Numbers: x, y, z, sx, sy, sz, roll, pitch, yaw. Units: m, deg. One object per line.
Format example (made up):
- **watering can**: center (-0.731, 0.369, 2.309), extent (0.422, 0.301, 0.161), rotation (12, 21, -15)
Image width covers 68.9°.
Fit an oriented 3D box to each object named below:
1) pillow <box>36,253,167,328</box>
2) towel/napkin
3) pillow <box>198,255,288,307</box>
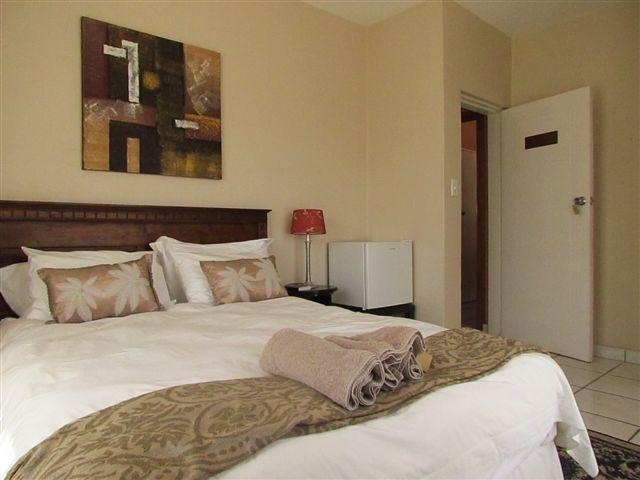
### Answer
- **pillow**: center (-1.272, 0.263, 2.746), extent (0.745, 0.347, 0.376), rotation (-5, 12, -29)
- **towel/napkin**: center (0.108, 0.458, 1.928), extent (0.542, 0.186, 0.509), rotation (9, 13, 39)
- **pillow**: center (-0.497, 0.263, 3.152), extent (0.522, 0.263, 0.293), rotation (-7, 14, -37)
